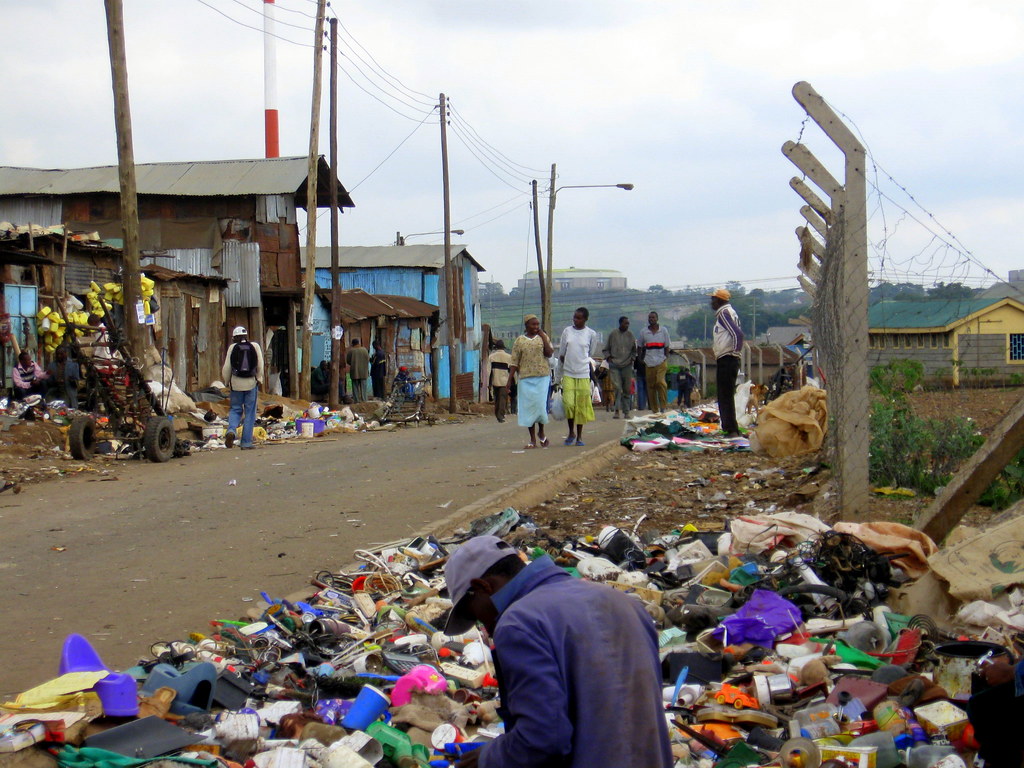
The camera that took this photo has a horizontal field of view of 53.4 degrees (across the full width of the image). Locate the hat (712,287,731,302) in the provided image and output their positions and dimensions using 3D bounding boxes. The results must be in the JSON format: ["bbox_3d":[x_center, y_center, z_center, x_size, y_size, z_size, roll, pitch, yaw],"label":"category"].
[{"bbox_3d":[2.803,-1.230,13.743,0.222,0.126,0.188,17,19,8],"label":"hat"}]

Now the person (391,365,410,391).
[{"bbox_3d":[-2.527,-0.167,23.192,0.297,0.626,1.117,-3,8,-9],"label":"person"}]

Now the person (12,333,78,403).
[{"bbox_3d":[-8.648,-0.303,18.886,1.562,0.971,0.707,-1,15,-9],"label":"person"}]

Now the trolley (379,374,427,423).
[{"bbox_3d":[-2.591,0.382,24.239,0.733,1.004,1.561,0,2,23],"label":"trolley"}]

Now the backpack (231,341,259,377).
[{"bbox_3d":[-4.299,-0.417,16.360,0.459,0.694,0.346,0,-10,-6],"label":"backpack"}]
